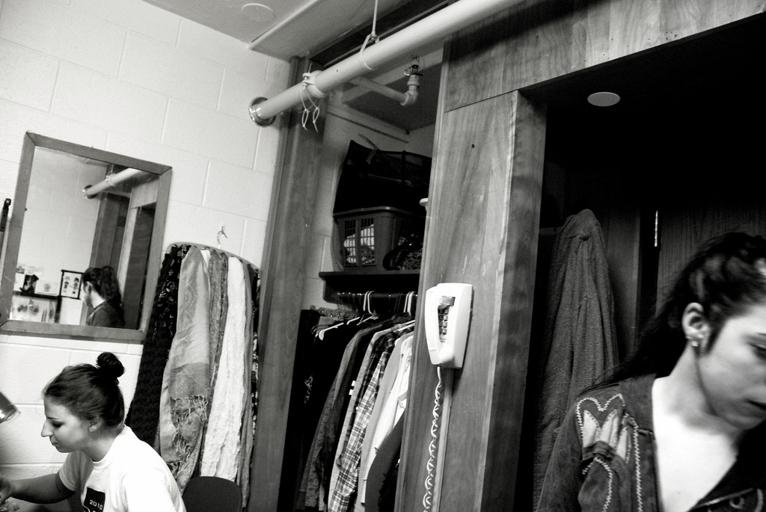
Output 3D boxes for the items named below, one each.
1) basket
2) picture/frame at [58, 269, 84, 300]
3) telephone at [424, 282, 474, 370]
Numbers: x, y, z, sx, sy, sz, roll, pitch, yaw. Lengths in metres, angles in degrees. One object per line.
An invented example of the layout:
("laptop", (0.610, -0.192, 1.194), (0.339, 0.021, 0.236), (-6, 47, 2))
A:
("basket", (-0.083, -0.090, 3.390), (0.507, 0.333, 0.158), (-2, -6, 43))
("picture/frame", (-1.539, 0.137, 2.965), (0.151, 0.183, 0.012), (3, -3, -39))
("telephone", (0.253, 0.269, 2.320), (0.180, 0.326, 0.081), (2, -5, 7))
